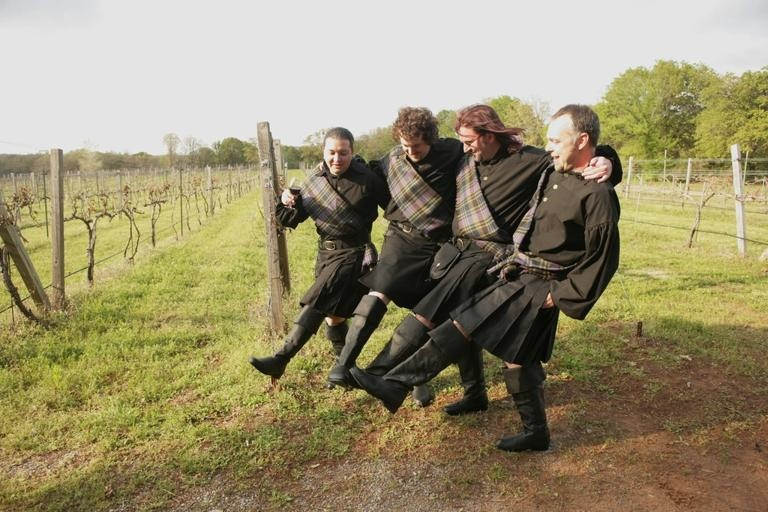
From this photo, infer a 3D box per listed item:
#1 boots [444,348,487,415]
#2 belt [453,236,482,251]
[{"bbox_3d":[0.911,1.386,6.471,0.516,0.757,0.296,-5,2,-4],"label":"boots"},{"bbox_3d":[0.842,-0.123,6.020,0.202,0.073,0.138,13,2,-44],"label":"belt"}]
